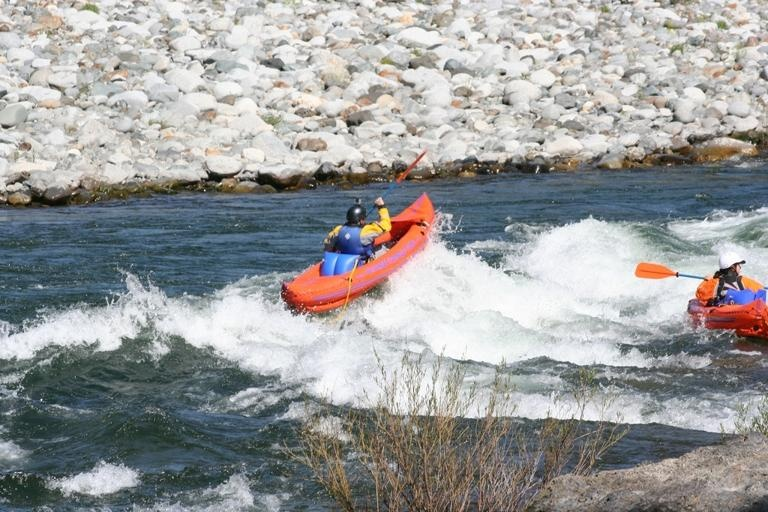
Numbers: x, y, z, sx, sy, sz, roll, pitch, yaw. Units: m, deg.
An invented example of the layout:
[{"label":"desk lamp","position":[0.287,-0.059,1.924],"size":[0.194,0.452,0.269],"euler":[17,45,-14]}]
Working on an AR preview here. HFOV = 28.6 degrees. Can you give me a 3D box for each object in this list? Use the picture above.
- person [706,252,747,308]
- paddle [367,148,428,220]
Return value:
[{"label":"person","position":[8.728,0.601,38.427],"size":[0.766,0.970,1.383],"euler":[-1,91,3]},{"label":"paddle","position":[0.715,-2.503,45.298],"size":[0.557,0.205,4.095],"euler":[23,47,38]}]
